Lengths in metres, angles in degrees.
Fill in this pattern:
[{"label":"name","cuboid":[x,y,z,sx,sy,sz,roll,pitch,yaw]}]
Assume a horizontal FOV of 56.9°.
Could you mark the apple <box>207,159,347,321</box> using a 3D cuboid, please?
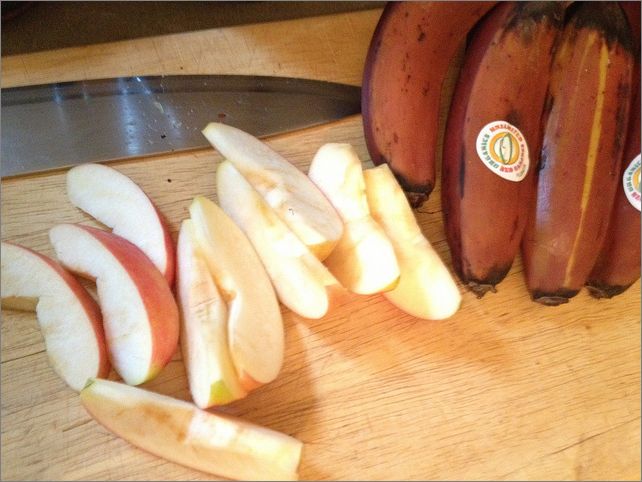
[{"label":"apple","cuboid":[-0.092,0.006,1.273,0.150,0.158,0.447,-39,90,-14]}]
